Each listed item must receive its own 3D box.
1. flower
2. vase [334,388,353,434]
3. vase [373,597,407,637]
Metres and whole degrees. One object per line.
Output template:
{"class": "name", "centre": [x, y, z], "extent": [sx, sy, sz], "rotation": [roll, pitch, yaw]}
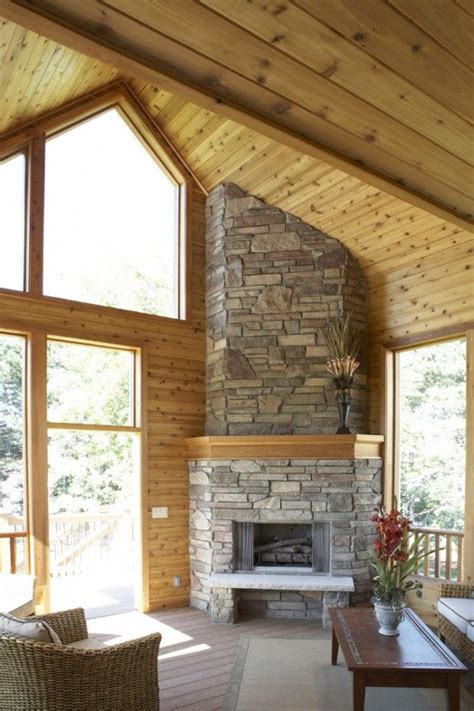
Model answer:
{"class": "flower", "centre": [0.949, 1.286, 3.837], "extent": [0.381, 0.511, 0.500], "rotation": [19, -30, -26]}
{"class": "vase", "centre": [1.011, 0.527, 5.684], "extent": [0.149, 0.423, 0.395], "rotation": [-2, -8, 9]}
{"class": "vase", "centre": [0.904, 1.573, 3.644], "extent": [0.190, 0.152, 0.189], "rotation": [-14, -23, 42]}
